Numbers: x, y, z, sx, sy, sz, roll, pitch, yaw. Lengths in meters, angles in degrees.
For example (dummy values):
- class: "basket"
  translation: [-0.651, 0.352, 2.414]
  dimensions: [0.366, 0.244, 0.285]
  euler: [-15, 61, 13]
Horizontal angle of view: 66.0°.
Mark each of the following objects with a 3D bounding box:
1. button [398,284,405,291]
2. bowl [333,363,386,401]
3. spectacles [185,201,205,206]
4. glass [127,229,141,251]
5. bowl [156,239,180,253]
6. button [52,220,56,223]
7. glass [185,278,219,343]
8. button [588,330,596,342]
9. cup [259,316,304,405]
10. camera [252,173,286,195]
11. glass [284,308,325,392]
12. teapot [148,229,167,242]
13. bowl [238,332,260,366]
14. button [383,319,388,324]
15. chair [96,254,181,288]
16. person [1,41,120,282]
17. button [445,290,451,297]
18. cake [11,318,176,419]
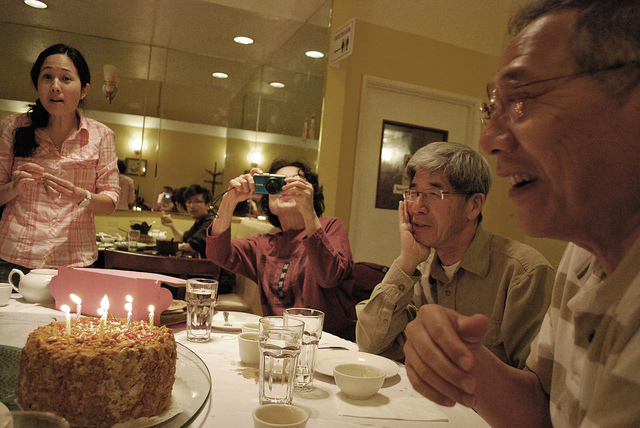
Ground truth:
- class: "button"
  translation: [0.348, 0.313, 2.106]
  dimensions: [0.027, 0.025, 0.009]
  euler: [5, 5, -4]
- class: "bowl"
  translation: [0.128, 0.512, 1.593]
  dimensions: [0.144, 0.092, 0.126]
  euler: [7, 10, 42]
- class: "spectacles"
  translation: [-1.302, -0.114, 5.113]
  dimensions: [0.094, 0.028, 0.097]
  euler: [-1, -3, 22]
- class: "glass"
  translation: [-1.874, 0.262, 4.983]
  dimensions: [0.102, 0.178, 0.382]
  euler: [4, 4, -20]
- class: "bowl"
  translation: [-1.336, 0.283, 4.374]
  dimensions: [0.164, 0.117, 0.196]
  euler: [6, 4, 16]
- class: "button"
  translation: [-1.531, 0.040, 2.848]
  dimensions: [0.017, 0.015, 0.004]
  euler: [1, -3, -23]
- class: "glass"
  translation: [-0.453, 0.380, 1.938]
  dimensions: [0.140, 0.232, 0.147]
  euler: [10, -16, -27]
- class: "button"
  translation: [0.727, 0.327, 1.321]
  dimensions: [0.006, 0.024, 0.025]
  euler: [31, 20, 10]
- class: "cup"
  translation: [-0.121, 0.460, 1.514]
  dimensions: [0.149, 0.232, 0.150]
  euler: [3, -17, 1]
- class: "camera"
  translation: [-0.293, -0.174, 2.838]
  dimensions: [0.205, 0.144, 0.113]
  euler: [2, 6, 2]
- class: "glass"
  translation: [-0.061, 0.445, 1.656]
  dimensions: [0.124, 0.260, 0.112]
  euler: [6, 5, -6]
- class: "teapot"
  translation: [-1.785, 0.224, 5.442]
  dimensions: [0.142, 0.127, 0.190]
  euler: [-3, -11, 23]
- class: "bowl"
  translation: [-0.238, 0.469, 1.753]
  dimensions: [0.118, 0.087, 0.118]
  euler: [1, -7, 0]
- class: "button"
  translation: [0.272, 0.444, 2.043]
  dimensions: [0.015, 0.015, 0.004]
  euler: [-2, -11, 2]
- class: "chair"
  translation: [-0.895, 0.278, 2.457]
  dimensions: [0.219, 0.200, 0.146]
  euler: [3, 7, -11]
- class: "person"
  translation: [-1.516, -0.308, 2.869]
  dimensions: [0.524, 1.347, 0.623]
  euler: [7, 5, 23]
- class: "button"
  translation: [0.572, 0.353, 2.205]
  dimensions: [0.023, 0.023, 0.006]
  euler: [-2, -9, 35]
- class: "cake"
  translation: [-0.622, 0.420, 1.396]
  dimensions: [0.328, 0.185, 0.327]
  euler: [5, -5, 5]
